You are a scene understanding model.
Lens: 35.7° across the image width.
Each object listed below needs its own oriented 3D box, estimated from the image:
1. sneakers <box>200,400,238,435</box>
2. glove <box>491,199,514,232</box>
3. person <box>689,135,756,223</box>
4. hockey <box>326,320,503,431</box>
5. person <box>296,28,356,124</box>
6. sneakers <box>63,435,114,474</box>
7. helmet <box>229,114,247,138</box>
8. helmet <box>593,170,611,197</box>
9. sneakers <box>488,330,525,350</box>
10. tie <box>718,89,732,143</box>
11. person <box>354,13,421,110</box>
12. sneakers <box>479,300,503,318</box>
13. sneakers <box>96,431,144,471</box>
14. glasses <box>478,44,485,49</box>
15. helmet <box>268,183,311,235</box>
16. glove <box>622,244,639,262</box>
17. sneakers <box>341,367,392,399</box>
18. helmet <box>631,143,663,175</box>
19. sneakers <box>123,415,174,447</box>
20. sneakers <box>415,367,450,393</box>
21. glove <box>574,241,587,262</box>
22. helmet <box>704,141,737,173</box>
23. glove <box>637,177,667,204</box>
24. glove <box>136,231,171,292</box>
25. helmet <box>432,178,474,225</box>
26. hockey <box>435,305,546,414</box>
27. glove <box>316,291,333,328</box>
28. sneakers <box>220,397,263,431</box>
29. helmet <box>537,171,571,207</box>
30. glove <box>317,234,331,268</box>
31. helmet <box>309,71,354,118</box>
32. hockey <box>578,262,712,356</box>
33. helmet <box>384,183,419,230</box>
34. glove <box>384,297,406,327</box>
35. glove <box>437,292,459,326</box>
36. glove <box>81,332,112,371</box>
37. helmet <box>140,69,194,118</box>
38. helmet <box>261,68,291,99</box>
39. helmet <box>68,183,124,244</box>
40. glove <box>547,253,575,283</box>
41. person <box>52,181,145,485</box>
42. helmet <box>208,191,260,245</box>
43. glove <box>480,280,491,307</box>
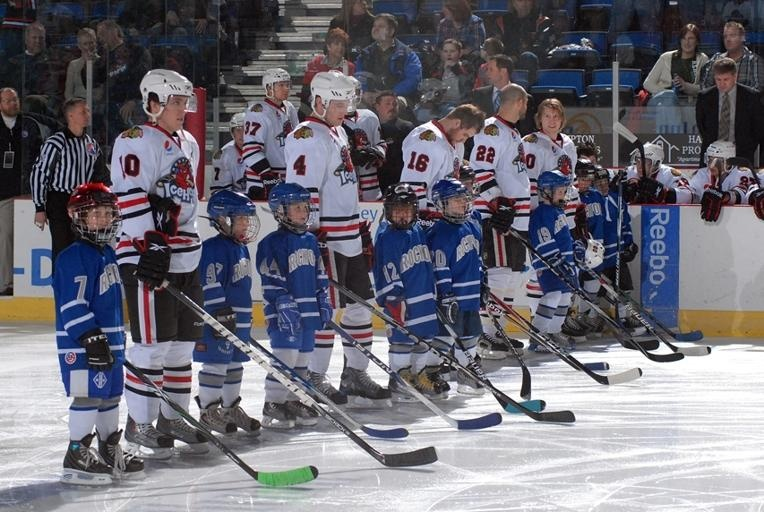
[{"bbox_3d":[-1.100,1.071,7.910,0.319,0.185,0.115,6,14,33],"label":"sneakers"},{"bbox_3d":[0.959,-0.320,9.536,0.099,0.258,0.187,7,-1,-45],"label":"glove"},{"bbox_3d":[3.111,-0.639,10.780,0.596,0.774,0.258,5,-32,-3],"label":"person"},{"bbox_3d":[0.224,0.871,8.495,1.210,0.170,0.174,35,-6,41],"label":"hockey"},{"bbox_3d":[-0.461,-1.820,11.638,0.578,0.807,0.922,-6,31,-19],"label":"person"},{"bbox_3d":[-1.775,1.206,7.232,0.362,0.238,0.142,2,-2,17],"label":"sneakers"},{"bbox_3d":[-1.274,-1.140,10.502,0.188,0.247,0.257,1,8,-6],"label":"helmet"},{"bbox_3d":[1.999,-0.663,10.731,0.179,0.217,0.230,-2,-4,3],"label":"helmet"},{"bbox_3d":[1.057,0.688,9.668,0.415,0.170,0.137,-2,1,23],"label":"sneakers"},{"bbox_3d":[3.277,-1.323,11.297,0.127,0.454,0.071,0,3,10],"label":"tie"},{"bbox_3d":[0.009,-1.792,11.397,0.745,1.021,0.623,10,13,22],"label":"person"},{"bbox_3d":[0.868,0.426,9.236,0.145,0.048,0.206,35,8,23],"label":"sneakers"},{"bbox_3d":[-1.614,1.204,7.328,0.368,0.229,0.126,9,11,26],"label":"sneakers"},{"bbox_3d":[0.987,-2.046,11.640,0.033,0.046,0.015,10,-8,25],"label":"glasses"},{"bbox_3d":[-0.617,-0.346,8.225,0.341,0.324,0.275,1,7,35],"label":"helmet"},{"bbox_3d":[2.208,-0.022,10.584,0.132,0.136,0.159,2,-14,1],"label":"glove"},{"bbox_3d":[-0.106,0.925,8.542,0.450,0.243,0.147,3,5,32],"label":"sneakers"},{"bbox_3d":[2.471,-0.905,11.038,0.339,0.324,0.247,-1,5,2],"label":"helmet"},{"bbox_3d":[-1.499,1.113,7.601,0.448,0.200,0.147,1,6,41],"label":"sneakers"},{"bbox_3d":[0.372,0.896,8.588,0.110,0.136,0.328,2,-6,-31],"label":"sneakers"},{"bbox_3d":[1.717,-0.036,10.277,0.127,0.160,0.165,4,6,15],"label":"glove"},{"bbox_3d":[3.164,-0.934,11.069,0.307,0.304,0.242,-25,34,-27],"label":"helmet"},{"bbox_3d":[2.482,-0.591,10.908,0.213,0.223,0.262,3,7,3],"label":"glove"},{"bbox_3d":[-1.420,0.037,7.407,0.231,0.341,0.079,5,1,-4],"label":"glove"},{"bbox_3d":[0.495,-0.403,8.737,0.280,0.332,0.356,-4,5,-38],"label":"helmet"},{"bbox_3d":[0.853,0.570,9.074,0.546,0.353,1.168,-4,10,20],"label":"hockey"},{"bbox_3d":[-0.392,0.361,8.145,0.080,0.206,0.213,-1,-7,-5],"label":"glove"},{"bbox_3d":[-0.942,1.057,7.965,0.332,0.193,0.118,9,21,25],"label":"sneakers"},{"bbox_3d":[1.427,-0.546,9.905,0.327,0.292,0.262,5,0,32],"label":"helmet"},{"bbox_3d":[-0.385,-0.043,8.391,0.077,0.197,0.144,-12,-7,21],"label":"glove"},{"bbox_3d":[-0.349,-1.146,8.476,0.350,0.326,0.276,10,19,24],"label":"helmet"},{"bbox_3d":[2.338,0.472,10.412,0.860,0.125,0.262,44,-1,19],"label":"hockey"},{"bbox_3d":[0.139,-0.352,8.476,0.232,0.275,0.305,-1,3,-5],"label":"helmet"},{"bbox_3d":[0.097,0.408,8.529,0.072,0.172,0.176,-6,7,-37],"label":"glove"},{"bbox_3d":[0.483,0.387,8.665,0.153,0.233,0.188,-2,-1,7],"label":"glove"},{"bbox_3d":[-1.715,0.572,7.157,0.189,0.216,0.080,-19,5,1],"label":"glove"},{"bbox_3d":[-1.372,-1.048,7.643,0.364,0.326,0.294,-3,11,-2],"label":"helmet"},{"bbox_3d":[-0.906,-1.487,10.224,0.300,0.277,0.240,-4,2,29],"label":"helmet"},{"bbox_3d":[-1.813,-0.288,7.425,0.306,0.376,0.386,0,11,-34],"label":"helmet"},{"bbox_3d":[1.465,0.088,9.808,0.164,0.096,0.273,-31,64,-32],"label":"glove"},{"bbox_3d":[-1.746,0.464,7.303,0.510,1.817,0.345,-2,3,-11],"label":"person"},{"bbox_3d":[-1.030,-0.267,8.058,0.378,0.343,0.279,4,1,13],"label":"helmet"},{"bbox_3d":[0.771,0.283,9.010,0.066,0.161,0.121,5,-5,4],"label":"glove"}]
